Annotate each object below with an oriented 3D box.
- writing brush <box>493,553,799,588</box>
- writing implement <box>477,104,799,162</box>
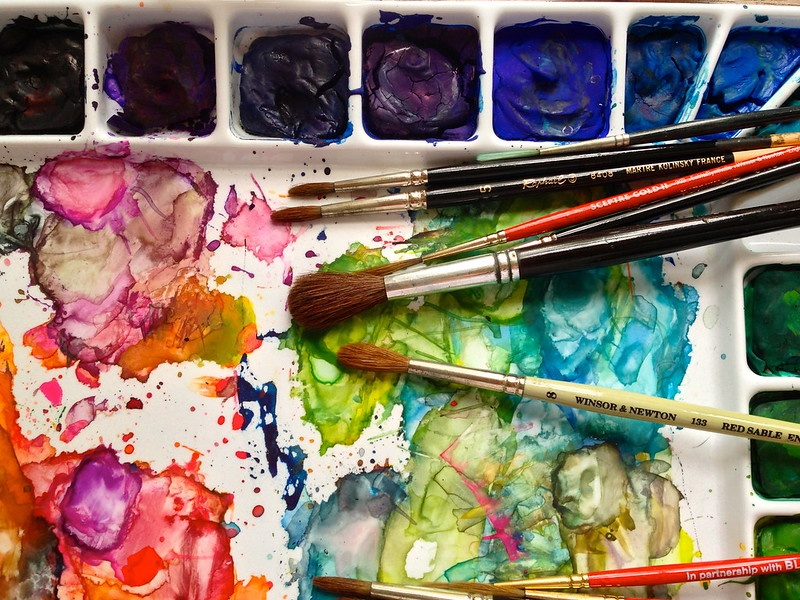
[{"bbox_3d":[0.542,0.607,2.170,0.737,0.064,0.046,-3,1,0],"label":"writing brush"},{"bbox_3d":[0.541,-0.386,2.259,0.512,0.030,0.041,-12,12,7],"label":"writing implement"}]
